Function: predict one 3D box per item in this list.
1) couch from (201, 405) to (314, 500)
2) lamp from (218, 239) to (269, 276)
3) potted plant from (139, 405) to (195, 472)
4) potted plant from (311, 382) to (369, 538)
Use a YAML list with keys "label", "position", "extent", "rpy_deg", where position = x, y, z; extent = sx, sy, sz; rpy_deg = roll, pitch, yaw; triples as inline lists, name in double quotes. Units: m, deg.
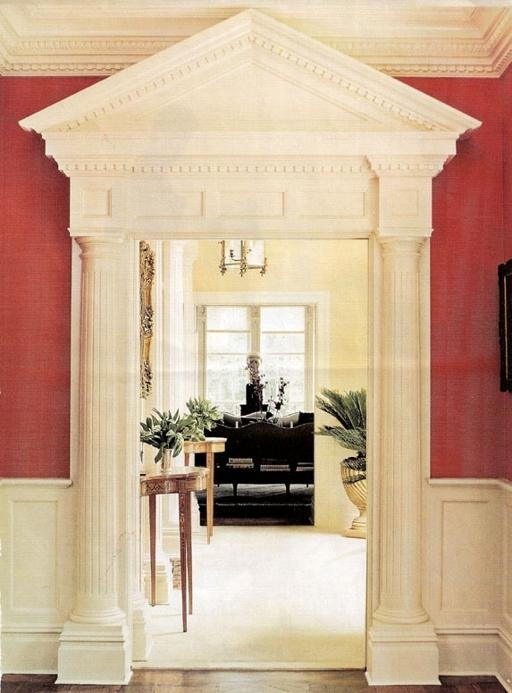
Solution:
- label: "couch"
  position: [0.086, 0.759, 8.582]
  extent: [1.069, 0.783, 0.578]
  rpy_deg: [1, 2, 3]
- label: "lamp"
  position: [-0.112, -0.730, 7.735]
  extent: [0.370, 0.362, 0.306]
  rpy_deg: [2, 9, 8]
- label: "potted plant"
  position: [-0.556, 0.527, 5.615]
  extent: [0.335, 0.315, 0.333]
  rpy_deg: [-1, 1, 16]
- label: "potted plant"
  position: [0.658, 0.920, 7.785]
  extent: [0.387, 1.164, 0.745]
  rpy_deg: [-1, -2, 3]
